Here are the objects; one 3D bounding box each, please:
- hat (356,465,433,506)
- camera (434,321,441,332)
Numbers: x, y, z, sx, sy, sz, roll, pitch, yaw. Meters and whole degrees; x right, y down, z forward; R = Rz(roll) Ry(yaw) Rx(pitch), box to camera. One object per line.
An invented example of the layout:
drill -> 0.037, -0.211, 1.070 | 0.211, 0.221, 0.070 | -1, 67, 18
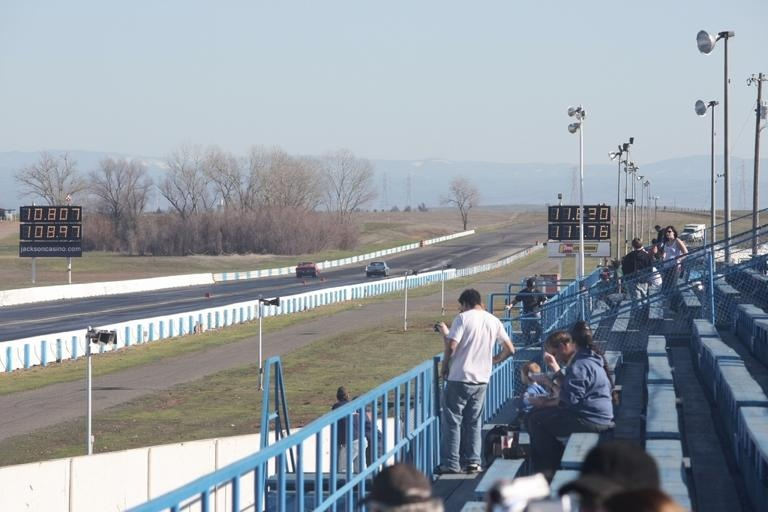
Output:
hat -> 0.314, 5.016, 27.728 | 1.185, 0.591, 0.860 | -1, -2, 1
camera -> 1.398, 1.903, 33.851 | 0.266, 0.286, 0.324 | 0, -9, -2
